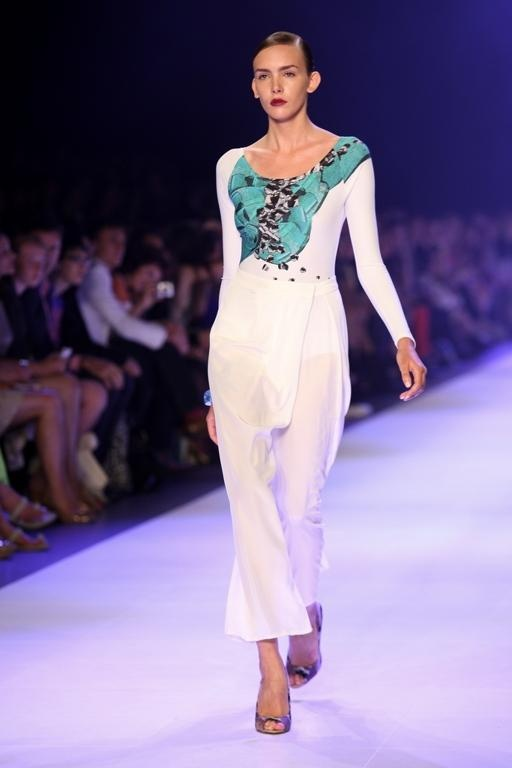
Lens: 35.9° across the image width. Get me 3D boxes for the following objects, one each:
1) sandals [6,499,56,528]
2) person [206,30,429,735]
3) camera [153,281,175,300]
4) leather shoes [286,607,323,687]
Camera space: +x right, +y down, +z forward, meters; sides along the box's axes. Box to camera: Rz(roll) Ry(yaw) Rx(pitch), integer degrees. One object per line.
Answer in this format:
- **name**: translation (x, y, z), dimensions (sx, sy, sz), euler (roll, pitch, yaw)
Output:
- **sandals**: translation (-0.858, 0.494, 3.015), dimensions (0.045, 0.134, 0.256), euler (-1, 2, 21)
- **person**: translation (0.119, -0.059, 1.766), dimensions (0.440, 1.494, 0.447), euler (-2, 2, -8)
- **camera**: translation (-0.472, -0.486, 4.091), dimensions (0.082, 0.099, 0.101), euler (7, -26, -1)
- **leather shoes**: translation (0.111, 0.623, 1.901), dimensions (0.061, 0.196, 0.032), euler (5, 8, 34)
